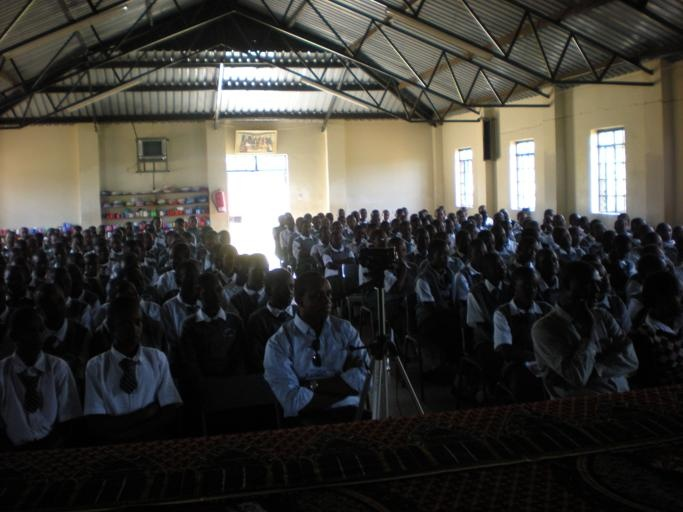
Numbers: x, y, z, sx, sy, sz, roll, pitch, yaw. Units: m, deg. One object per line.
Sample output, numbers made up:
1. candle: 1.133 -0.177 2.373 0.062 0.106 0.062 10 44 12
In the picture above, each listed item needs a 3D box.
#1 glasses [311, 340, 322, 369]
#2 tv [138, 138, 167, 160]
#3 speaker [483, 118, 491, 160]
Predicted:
1. glasses: -0.140 0.544 3.272 0.073 0.123 0.118 -2 8 4
2. tv: -5.067 -2.838 15.464 0.809 0.695 0.501 1 3 -8
3. speaker: 3.442 -2.752 13.601 0.240 0.937 0.101 -4 5 -31
